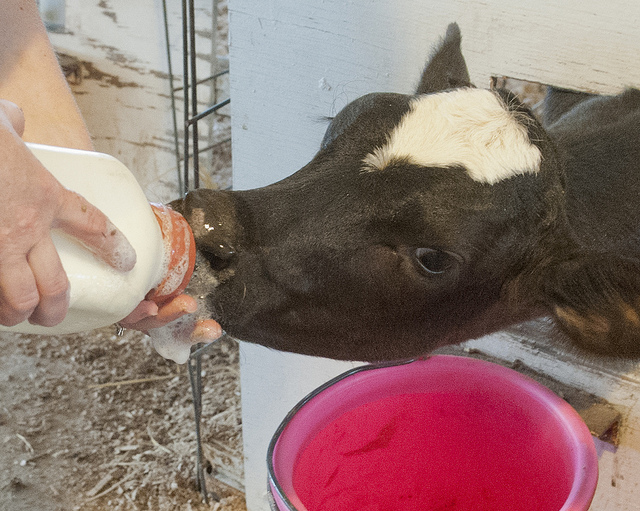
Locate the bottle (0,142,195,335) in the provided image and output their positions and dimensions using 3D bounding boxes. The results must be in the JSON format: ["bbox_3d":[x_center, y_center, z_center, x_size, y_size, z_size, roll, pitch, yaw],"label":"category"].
[{"bbox_3d":[-0.413,-0.042,1.665,0.303,0.242,0.320,5,56,-8],"label":"bottle"}]
